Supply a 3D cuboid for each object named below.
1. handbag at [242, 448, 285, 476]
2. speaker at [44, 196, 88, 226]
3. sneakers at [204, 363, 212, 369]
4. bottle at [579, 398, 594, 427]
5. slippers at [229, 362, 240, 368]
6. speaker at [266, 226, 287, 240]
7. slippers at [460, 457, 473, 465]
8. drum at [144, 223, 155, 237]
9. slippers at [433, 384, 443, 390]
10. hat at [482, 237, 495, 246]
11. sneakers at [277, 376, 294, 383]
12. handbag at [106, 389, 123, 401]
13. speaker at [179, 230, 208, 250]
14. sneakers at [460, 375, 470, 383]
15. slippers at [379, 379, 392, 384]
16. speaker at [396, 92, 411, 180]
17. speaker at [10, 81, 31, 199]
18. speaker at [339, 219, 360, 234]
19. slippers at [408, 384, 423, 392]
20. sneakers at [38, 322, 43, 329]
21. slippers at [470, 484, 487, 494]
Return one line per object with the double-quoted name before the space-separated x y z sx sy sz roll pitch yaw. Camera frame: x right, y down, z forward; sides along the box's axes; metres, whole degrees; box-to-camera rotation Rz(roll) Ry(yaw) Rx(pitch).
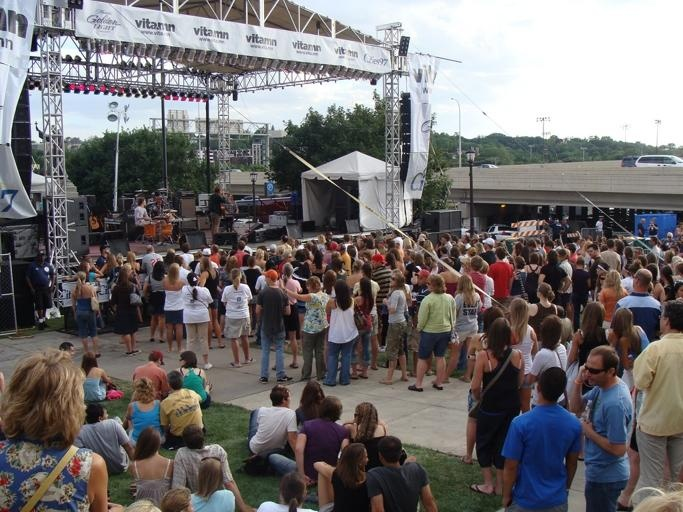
"handbag" -0.983 2.495 8.662 0.258 0.168 0.367 1 -7 19
"speaker" -6.460 -1.022 17.460 0.559 0.841 0.770 -1 1 -24
"sneakers" -2.337 1.933 12.556 0.056 0.075 0.162 1 8 11
"bottle" 2.365 1.496 6.996 0.088 0.224 0.201 0 9 3
"slippers" -1.874 1.916 12.684 0.074 0.092 0.187 -1 6 -34
"speaker" -2.270 -0.739 24.868 0.729 0.571 0.522 -2 -4 34
"slippers" 1.527 2.515 8.859 0.063 0.038 0.147 1 4 -9
"drum" -5.983 -0.796 22.624 0.407 0.474 0.335 3 13 5
"slippers" 1.494 2.055 11.256 0.063 0.082 0.173 -4 11 -29
"hat" 3.113 -0.232 15.438 0.196 0.119 0.157 9 28 26
"sneakers" -0.933 2.033 11.805 0.257 0.123 0.095 -1 4 -29
"handbag" -3.460 2.110 10.984 0.153 0.077 0.179 0 -1 0
"speaker" -4.268 -0.412 20.684 0.683 0.617 0.919 -3 6 -40
"sneakers" 1.976 1.992 11.580 0.068 0.098 0.210 -2 2 -23
"slippers" 0.688 2.019 11.548 0.159 0.051 0.073 4 0 13
"speaker" 2.066 -3.750 23.360 0.365 2.873 0.750 0 8 4
"speaker" -10.132 -3.772 22.910 0.596 3.139 0.930 -6 10 -34
"speaker" 0.363 -1.044 26.672 0.518 0.384 0.559 1 0 7
"slippers" 1.127 2.055 11.169 0.190 0.087 0.097 7 10 39
"sneakers" -6.682 1.563 15.970 0.080 0.176 0.158 -1 15 -3
"slippers" 1.587 2.672 8.247 0.150 0.046 0.089 5 8 32
